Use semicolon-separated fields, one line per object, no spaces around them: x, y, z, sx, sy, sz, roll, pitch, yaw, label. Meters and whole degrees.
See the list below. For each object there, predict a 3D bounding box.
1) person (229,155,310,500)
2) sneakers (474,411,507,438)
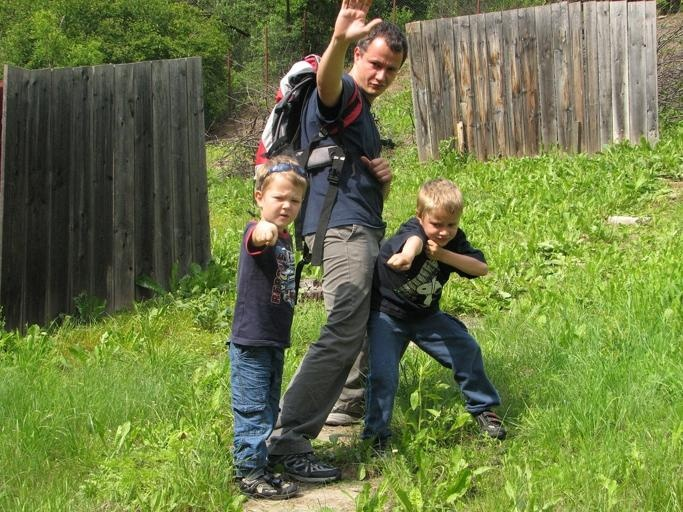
-0.496;0.458;5.156;0.649;2.262;0.551;-5;6;-21;person
1.085;1.206;5.569;0.097;0.115;0.273;-2;33;-39;sneakers
